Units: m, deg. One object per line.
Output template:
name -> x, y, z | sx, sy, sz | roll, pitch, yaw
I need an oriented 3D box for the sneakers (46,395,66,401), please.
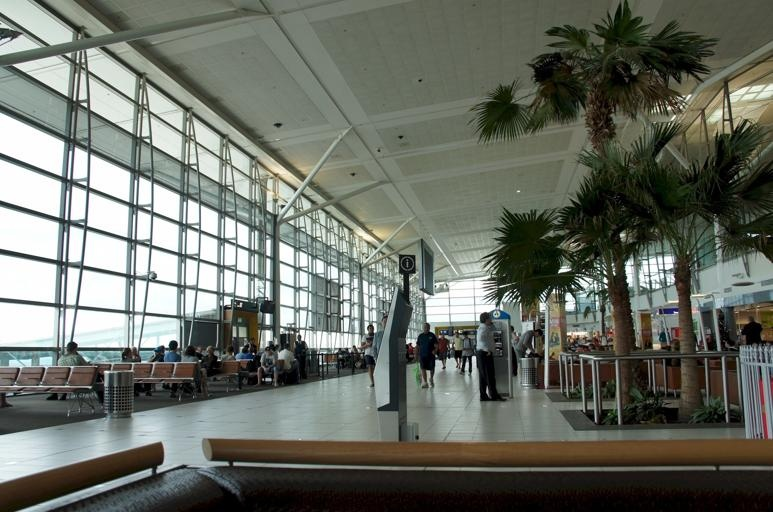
sneakers -> -8.500, 3.651, 13.192 | 0.312, 0.137, 0.414 | 1, -12, -10

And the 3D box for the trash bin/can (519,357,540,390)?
trash bin/can -> 3.864, 3.157, 13.766 | 0.782, 0.902, 0.705 | 1, -9, -1

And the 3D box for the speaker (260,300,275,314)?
speaker -> -4.823, 2.023, 20.609 | 0.238, 0.475, 0.755 | -6, -13, 15

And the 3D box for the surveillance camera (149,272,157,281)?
surveillance camera -> -7.256, 0.602, 15.790 | 0.266, 0.126, 0.195 | -5, -14, 40

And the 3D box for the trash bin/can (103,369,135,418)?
trash bin/can -> -5.056, 2.610, 9.631 | 0.495, 0.851, 0.350 | 4, -14, -27
